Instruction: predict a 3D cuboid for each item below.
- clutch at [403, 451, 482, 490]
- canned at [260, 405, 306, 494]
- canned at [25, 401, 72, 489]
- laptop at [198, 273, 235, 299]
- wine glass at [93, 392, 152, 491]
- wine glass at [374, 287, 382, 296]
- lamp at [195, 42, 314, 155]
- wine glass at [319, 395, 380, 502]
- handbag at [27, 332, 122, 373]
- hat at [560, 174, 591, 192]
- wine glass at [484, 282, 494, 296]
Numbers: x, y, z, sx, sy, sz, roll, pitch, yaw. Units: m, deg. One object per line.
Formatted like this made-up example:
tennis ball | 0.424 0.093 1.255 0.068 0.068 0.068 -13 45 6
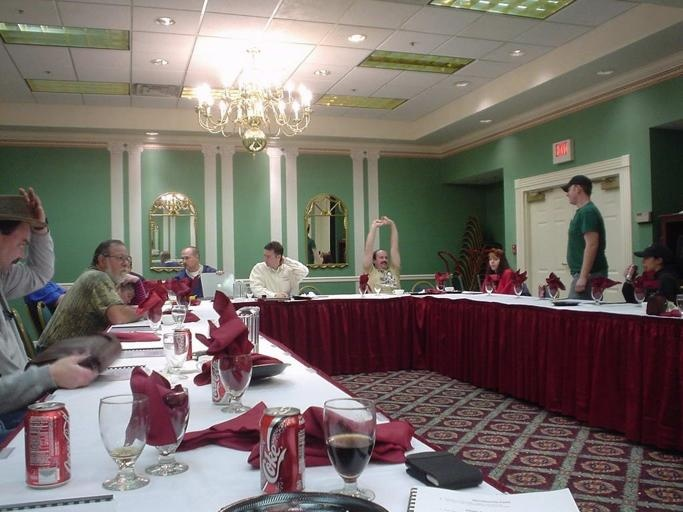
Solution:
clutch | 0.228 0.487 1.127 0.137 0.049 0.141 -2 1 -27
canned | -0.128 0.416 1.047 0.093 0.168 0.060 -2 1 -9
canned | -0.663 0.428 1.109 0.082 0.173 0.055 -3 2 -38
laptop | -1.250 0.282 4.914 0.261 0.188 0.190 1 -7 -9
wine glass | -0.499 0.410 1.127 0.096 0.168 0.146 -3 1 -27
wine glass | 0.421 0.414 5.849 0.062 0.104 0.068 0 -14 0
lamp | -1.077 -2.021 6.517 1.543 1.451 1.532 -3 5 -40
wine glass | 0.016 0.414 1.077 0.111 0.202 0.116 -2 1 -8
handbag | -0.930 0.306 1.741 0.210 0.088 0.159 2 5 -37
hat | 2.205 -0.695 4.687 0.265 0.164 0.176 13 8 44
wine glass | 1.481 0.321 4.991 0.101 0.173 0.108 0 -9 -5
